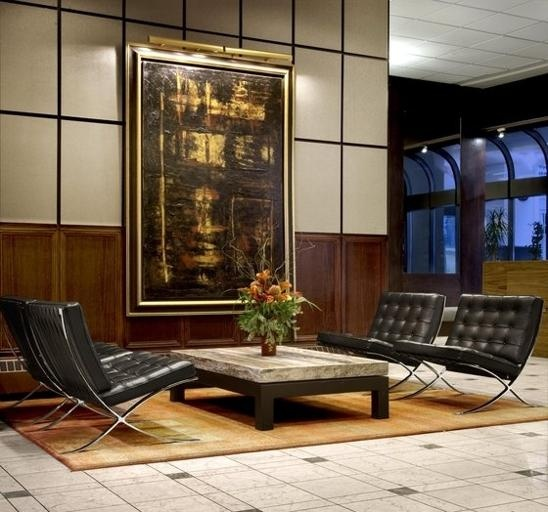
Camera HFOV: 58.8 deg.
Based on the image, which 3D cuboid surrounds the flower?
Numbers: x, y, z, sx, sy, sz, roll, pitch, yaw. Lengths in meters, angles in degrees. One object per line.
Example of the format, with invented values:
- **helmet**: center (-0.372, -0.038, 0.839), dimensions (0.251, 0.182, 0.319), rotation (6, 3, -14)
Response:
- **flower**: center (-0.027, 0.441, 4.362), dimensions (0.932, 0.723, 0.870), rotation (8, -6, -6)

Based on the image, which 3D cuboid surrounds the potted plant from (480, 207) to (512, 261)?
- **potted plant**: center (5.249, -0.473, 11.407), dimensions (0.512, 1.202, 1.865), rotation (1, 4, 25)
